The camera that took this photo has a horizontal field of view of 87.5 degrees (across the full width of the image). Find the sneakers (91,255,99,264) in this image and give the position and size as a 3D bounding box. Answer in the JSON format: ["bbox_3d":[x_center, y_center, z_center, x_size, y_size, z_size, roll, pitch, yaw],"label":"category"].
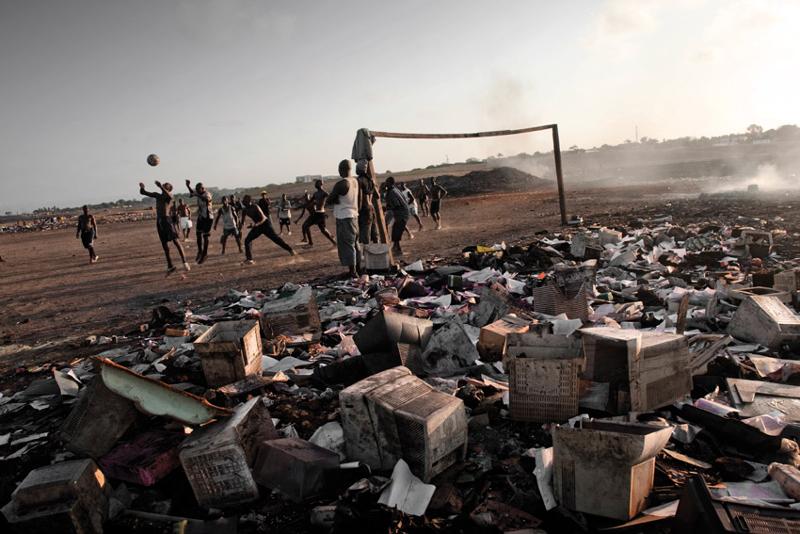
[{"bbox_3d":[-10.636,-0.234,14.525,0.330,0.225,0.120,-47,-14,26],"label":"sneakers"}]

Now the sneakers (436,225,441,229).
[{"bbox_3d":[1.535,-1.562,16.683,0.070,0.182,0.204,-25,-40,22],"label":"sneakers"}]

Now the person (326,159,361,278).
[{"bbox_3d":[-1.117,-0.974,8.672,0.646,2.395,0.479,-9,9,-14],"label":"person"}]

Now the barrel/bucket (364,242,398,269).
[{"bbox_3d":[-0.425,-0.225,8.774,0.630,0.501,0.539,-1,-5,-5],"label":"barrel/bucket"}]

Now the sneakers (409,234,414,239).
[{"bbox_3d":[0.399,-0.998,14.210,0.155,0.104,0.218,-3,4,2],"label":"sneakers"}]

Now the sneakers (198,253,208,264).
[{"bbox_3d":[-5.727,-0.236,12.110,0.222,0.231,0.599,6,13,-13],"label":"sneakers"}]

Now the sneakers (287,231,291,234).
[{"bbox_3d":[-4.822,-1.450,18.196,0.098,0.143,0.142,-4,-34,1],"label":"sneakers"}]
